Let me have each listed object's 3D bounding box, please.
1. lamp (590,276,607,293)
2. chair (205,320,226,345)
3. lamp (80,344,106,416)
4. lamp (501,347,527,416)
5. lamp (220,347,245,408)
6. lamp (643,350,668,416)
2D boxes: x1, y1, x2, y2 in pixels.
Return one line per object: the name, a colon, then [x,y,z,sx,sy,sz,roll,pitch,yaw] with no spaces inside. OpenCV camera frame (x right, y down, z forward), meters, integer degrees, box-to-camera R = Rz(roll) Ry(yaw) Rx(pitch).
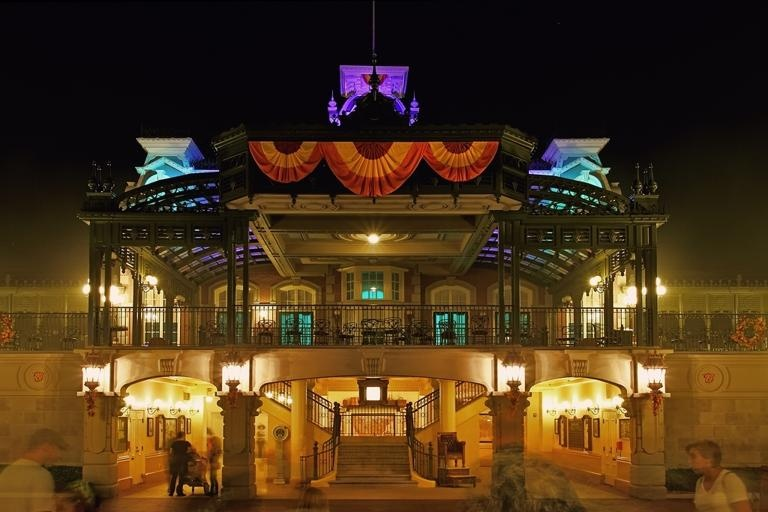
lamp: [9.405,1.231,45.197,0.737,0.866,0.758,3,-9,0]
chair: [-6.876,3.119,41.779,0.726,0.669,1.284,-2,-2,-7]
lamp: [-11.101,4.832,39.139,0.742,2.500,0.820,-2,-9,11]
lamp: [4.955,4.748,39.088,0.883,2.434,1.238,-1,-9,6]
lamp: [-5.748,4.595,38.971,0.791,1.963,0.758,1,-9,-9]
lamp: [10.301,4.753,39.199,0.786,2.339,0.900,-3,-9,14]
